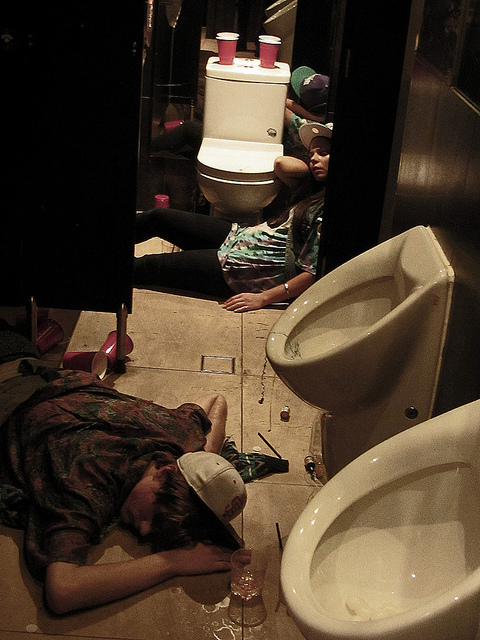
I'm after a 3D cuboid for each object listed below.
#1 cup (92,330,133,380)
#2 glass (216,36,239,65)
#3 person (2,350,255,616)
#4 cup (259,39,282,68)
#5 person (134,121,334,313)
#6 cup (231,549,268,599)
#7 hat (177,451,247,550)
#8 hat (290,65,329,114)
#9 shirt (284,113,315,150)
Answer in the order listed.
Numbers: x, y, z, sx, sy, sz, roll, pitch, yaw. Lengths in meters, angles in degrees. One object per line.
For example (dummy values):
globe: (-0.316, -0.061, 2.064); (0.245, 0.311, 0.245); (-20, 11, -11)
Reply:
cup: (-0.536, 0.159, 2.249); (0.113, 0.148, 0.222); (-7, 20, 28)
glass: (-0.097, -1.709, 3.382); (0.148, 0.172, 0.146); (-15, 38, -25)
person: (-0.334, 0.404, 1.545); (0.662, 0.321, 0.769); (-7, 29, -30)
cup: (0.167, -1.709, 3.420); (0.161, 0.180, 0.166); (8, 29, -5)
person: (-0.163, -0.640, 3.170); (1.291, 0.894, 0.791); (11, 23, 4)
cup: (0.021, 0.614, 1.283); (0.099, 0.120, 0.109); (1, 31, 0)
hat: (-0.059, 0.428, 1.362); (0.238, 0.094, 0.148); (61, 12, 17)
hat: (0.448, -1.508, 3.465); (0.221, 0.270, 0.328); (1, 25, -14)
shirt: (0.386, -1.263, 3.592); (0.106, 0.141, 0.211); (-15, 13, -39)
